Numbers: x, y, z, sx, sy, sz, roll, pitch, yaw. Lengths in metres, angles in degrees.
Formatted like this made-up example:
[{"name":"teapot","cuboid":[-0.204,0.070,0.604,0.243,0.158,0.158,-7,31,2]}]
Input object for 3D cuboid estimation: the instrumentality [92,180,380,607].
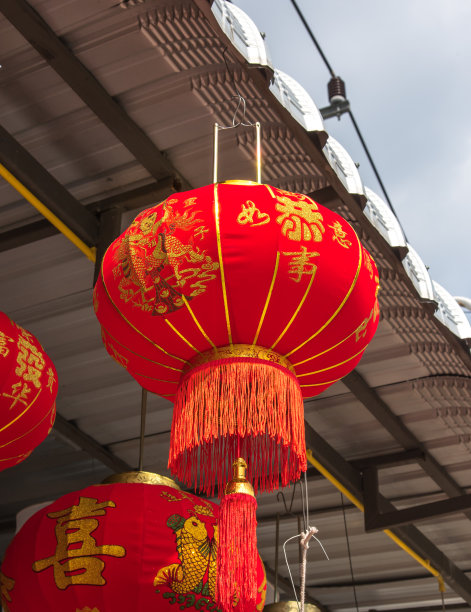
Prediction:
[{"name":"instrumentality","cuboid":[-0.001,0.053,2.561,0.930,0.811,0.817,3,-23,-13]}]
